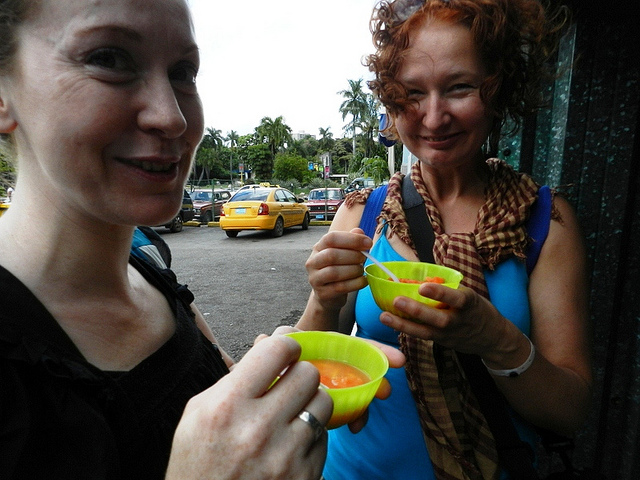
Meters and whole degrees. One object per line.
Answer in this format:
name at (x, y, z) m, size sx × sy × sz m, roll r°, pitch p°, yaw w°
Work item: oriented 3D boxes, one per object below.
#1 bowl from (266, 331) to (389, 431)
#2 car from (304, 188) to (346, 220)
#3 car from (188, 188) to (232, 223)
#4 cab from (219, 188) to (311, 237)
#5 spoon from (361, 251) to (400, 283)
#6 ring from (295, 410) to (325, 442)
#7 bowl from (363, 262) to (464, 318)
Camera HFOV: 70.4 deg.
bowl at (0.022, 0.514, 1.744) m, size 0.425 × 0.176 × 0.446 m, roll 20°, pitch 9°, yaw -3°
car at (0.149, -1.529, 19.196) m, size 1.191 × 0.994 × 2.191 m, roll -1°, pitch 5°, yaw 5°
car at (-4.746, -1.489, 19.120) m, size 1.404 × 1.082 × 2.532 m, roll 2°, pitch 7°, yaw 15°
cab at (-1.587, -0.946, 14.421) m, size 1.272 × 0.983 × 2.937 m, roll 1°, pitch 8°, yaw 18°
spoon at (0.299, 0.131, 2.168) m, size 0.164 × 0.024 × 0.026 m, roll 48°, pitch 32°, yaw 3°
ring at (-0.023, 0.550, 1.376) m, size 0.085 × 0.022 × 0.085 m, roll 43°, pitch 9°, yaw -8°
bowl at (0.435, 0.207, 2.094) m, size 0.413 × 0.177 × 0.438 m, roll 1°, pitch -2°, yaw 0°
